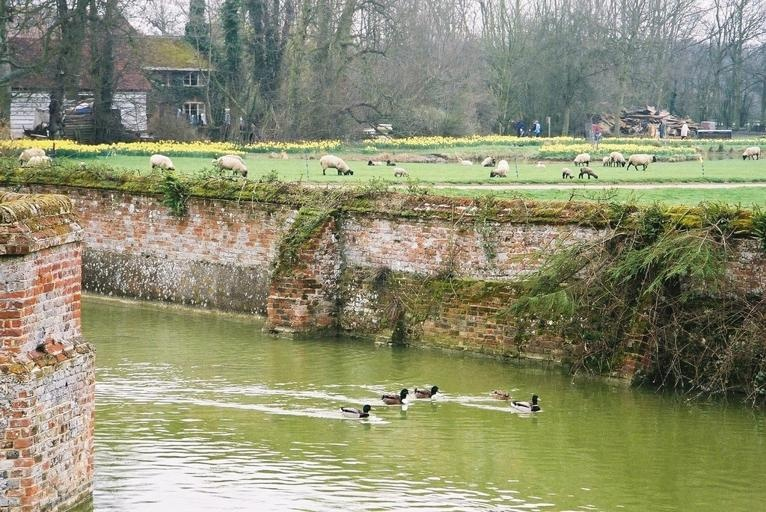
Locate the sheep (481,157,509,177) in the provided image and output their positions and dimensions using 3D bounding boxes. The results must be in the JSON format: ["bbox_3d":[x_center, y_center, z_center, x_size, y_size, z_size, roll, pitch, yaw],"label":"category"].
[{"bbox_3d":[4.135,-3.221,55.293,0.532,0.938,1.747,-2,9,-1],"label":"sheep"}]

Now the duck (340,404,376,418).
[{"bbox_3d":[-0.744,4.460,43.741,1.041,0.473,0.350,1,7,13],"label":"duck"}]

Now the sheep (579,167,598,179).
[{"bbox_3d":[7.382,-2.996,54.961,0.719,0.412,1.667,4,8,7],"label":"sheep"}]

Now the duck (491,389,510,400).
[{"bbox_3d":[3.443,4.077,44.599,0.578,0.211,0.365,4,8,5],"label":"duck"}]

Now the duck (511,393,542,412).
[{"bbox_3d":[4.157,4.261,44.142,0.935,0.476,0.640,1,8,-16],"label":"duck"}]

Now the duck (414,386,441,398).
[{"bbox_3d":[1.246,3.995,44.628,0.706,0.347,0.390,3,8,-2],"label":"duck"}]

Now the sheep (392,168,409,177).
[{"bbox_3d":[0.575,-2.997,54.708,0.686,0.385,0.234,-1,28,-7],"label":"sheep"}]

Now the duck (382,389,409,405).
[{"bbox_3d":[0.355,4.091,44.317,0.653,0.493,0.402,3,1,22],"label":"duck"}]

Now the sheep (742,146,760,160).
[{"bbox_3d":[15.513,-4.364,64.411,0.602,0.486,1.122,4,8,9],"label":"sheep"}]
